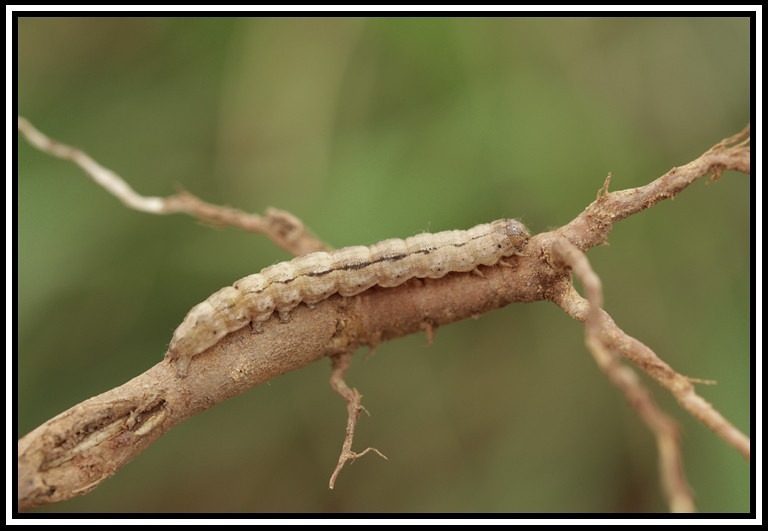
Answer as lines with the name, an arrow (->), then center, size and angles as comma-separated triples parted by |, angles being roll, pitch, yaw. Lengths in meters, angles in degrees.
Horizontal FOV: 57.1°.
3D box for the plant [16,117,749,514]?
plant -> -1.007, 0.001, 6.673 | 6.144, 3.055, 3.226 | -3, 14, -18
